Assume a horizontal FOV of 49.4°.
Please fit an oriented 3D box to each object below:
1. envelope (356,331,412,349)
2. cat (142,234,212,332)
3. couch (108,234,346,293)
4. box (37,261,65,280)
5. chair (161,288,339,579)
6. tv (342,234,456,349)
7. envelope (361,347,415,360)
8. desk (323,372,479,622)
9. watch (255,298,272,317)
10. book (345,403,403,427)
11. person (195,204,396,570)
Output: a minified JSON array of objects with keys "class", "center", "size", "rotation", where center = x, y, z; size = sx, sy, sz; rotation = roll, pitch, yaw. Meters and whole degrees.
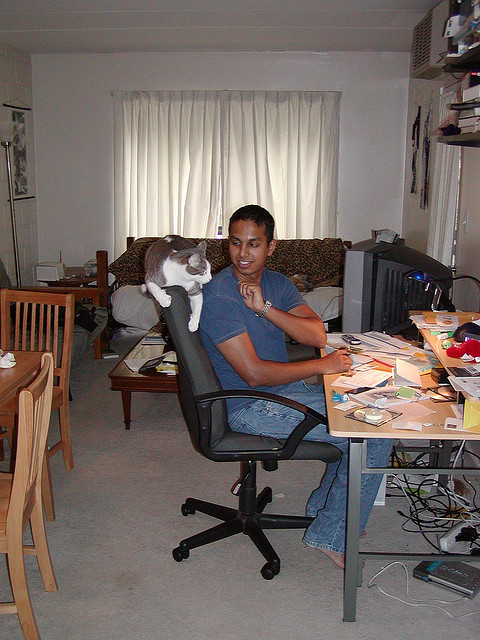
[{"class":"envelope","center":[0.595,0.081,2.158],"size":[0.142,0.025,0.230],"rotation":[-6,10,-31]},{"class":"cat","center":[-0.174,-0.102,1.477],"size":[0.176,0.263,0.133],"rotation":[-3,10,-15]},{"class":"couch","center":[0.019,-0.547,4.722],"size":[1.543,0.589,0.964],"rotation":[3,13,6]},{"class":"box","center":[-1.683,-0.436,4.681],"size":[0.176,0.111,0.176],"rotation":[2,14,4]},{"class":"chair","center":[0.032,0.345,1.838],"size":[0.551,0.982,1.091],"rotation":[-1,9,-6]},{"class":"tv","center":[0.832,-0.127,2.706],"size":[0.402,0.506,0.509],"rotation":[15,25,36]},{"class":"envelope","center":[0.558,0.123,1.978],"size":[0.088,0.012,0.077],"rotation":[-6,15,-33]},{"class":"desk","center":[0.456,0.546,1.510],"size":[0.431,0.654,0.481],"rotation":[1,10,8]},{"class":"watch","center":[0.074,-0.040,1.647],"size":[0.027,0.051,0.040],"rotation":[9,-10,-18]},{"class":"book","center":[0.354,0.242,1.383],"size":[0.104,0.022,0.150],"rotation":[7,12,40]},{"class":"person","center":[0.200,0.246,1.742],"size":[0.663,1.169,0.443],"rotation":[-1,8,28]}]
